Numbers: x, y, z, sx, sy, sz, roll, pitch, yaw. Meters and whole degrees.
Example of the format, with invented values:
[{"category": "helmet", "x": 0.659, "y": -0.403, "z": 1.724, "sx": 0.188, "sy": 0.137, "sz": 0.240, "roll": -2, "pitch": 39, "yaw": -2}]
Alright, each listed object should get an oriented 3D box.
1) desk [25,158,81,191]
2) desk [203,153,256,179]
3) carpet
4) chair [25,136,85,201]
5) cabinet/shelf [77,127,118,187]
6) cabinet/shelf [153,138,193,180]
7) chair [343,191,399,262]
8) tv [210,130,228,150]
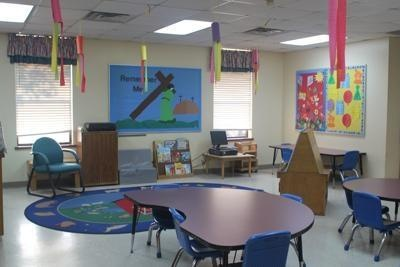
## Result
[{"category": "desk", "x": -3.718, "y": 0.953, "z": 7.638, "sx": 1.254, "sy": 0.751, "sz": 0.722, "roll": 2, "pitch": 19, "yaw": -32}, {"category": "desk", "x": 0.879, "y": 0.817, "z": 8.756, "sx": 0.930, "sy": 0.441, "sz": 0.913, "roll": 0, "pitch": 1, "yaw": -28}, {"category": "carpet", "x": -1.831, "y": 1.550, "z": 6.043, "sx": 2.431, "sy": 0.037, "sz": 2.389, "roll": 14, "pitch": 9, "yaw": 34}, {"category": "chair", "x": -3.331, "y": 0.761, "z": 6.965, "sx": 1.173, "sy": 1.248, "sz": 1.160, "roll": 2, "pitch": 3, "yaw": 1}, {"category": "cabinet/shelf", "x": -2.652, "y": 0.527, "z": 7.908, "sx": 0.966, "sy": 1.425, "sz": 0.894, "roll": -4, "pitch": 16, "yaw": -29}, {"category": "cabinet/shelf", "x": -0.915, "y": 0.796, "z": 8.706, "sx": 0.451, "sy": 1.311, "sz": 1.390, "roll": -12, "pitch": -5, "yaw": 28}, {"category": "chair", "x": 2.595, "y": 1.284, "z": 4.516, "sx": 0.682, "sy": 0.959, "sz": 0.806, "roll": 6, "pitch": 9, "yaw": 34}, {"category": "tv", "x": 0.528, "y": 0.193, "z": 8.856, "sx": 0.557, "sy": 0.542, "sz": 0.195, "roll": 1, "pitch": -11, "yaw": -24}]
